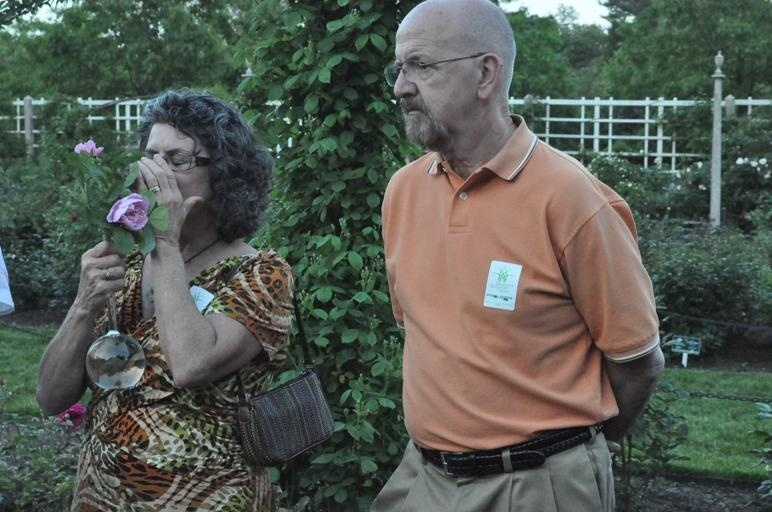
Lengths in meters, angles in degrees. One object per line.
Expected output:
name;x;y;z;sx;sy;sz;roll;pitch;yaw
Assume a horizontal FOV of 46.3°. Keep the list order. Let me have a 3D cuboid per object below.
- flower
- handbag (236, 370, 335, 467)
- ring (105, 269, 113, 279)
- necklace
flower;-1.542;-0.338;5.209;0.524;0.648;0.282;0;2;23
handbag;-0.620;0.974;5.553;0.274;0.510;0.641;-3;11;43
ring;-1.635;0.115;5.301;0.042;0.041;0.017;-1;0;0
necklace;-1.188;0.130;5.421;0.380;0.397;0.137;-35;40;-3
